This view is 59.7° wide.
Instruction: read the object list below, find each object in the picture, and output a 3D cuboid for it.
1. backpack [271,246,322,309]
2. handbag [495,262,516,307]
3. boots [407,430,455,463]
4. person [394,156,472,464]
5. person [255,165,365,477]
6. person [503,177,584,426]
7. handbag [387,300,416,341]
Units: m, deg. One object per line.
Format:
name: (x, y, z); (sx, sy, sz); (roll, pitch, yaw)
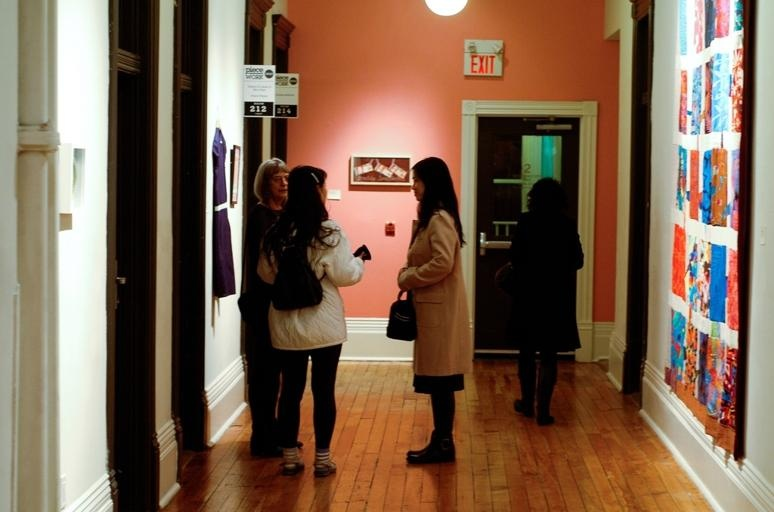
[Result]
backpack: (-0.541, 0.134, 4.085); (0.316, 0.502, 0.183); (0, 4, 11)
handbag: (1.018, 0.216, 5.701); (0.210, 0.318, 0.740); (2, 6, 5)
boots: (0.334, 1.327, 4.741); (0.391, 0.272, 0.149); (2, 0, 1)
person: (0.321, 0.384, 4.520); (0.484, 2.071, 0.370); (0, 4, 1)
person: (-0.474, 0.437, 4.246); (0.661, 1.993, 0.350); (-1, 5, -14)
person: (1.224, 0.359, 5.300); (0.577, 1.907, 0.241); (2, 5, 17)
handbag: (0.101, 0.420, 4.448); (0.185, 0.279, 0.134); (7, 11, -7)
